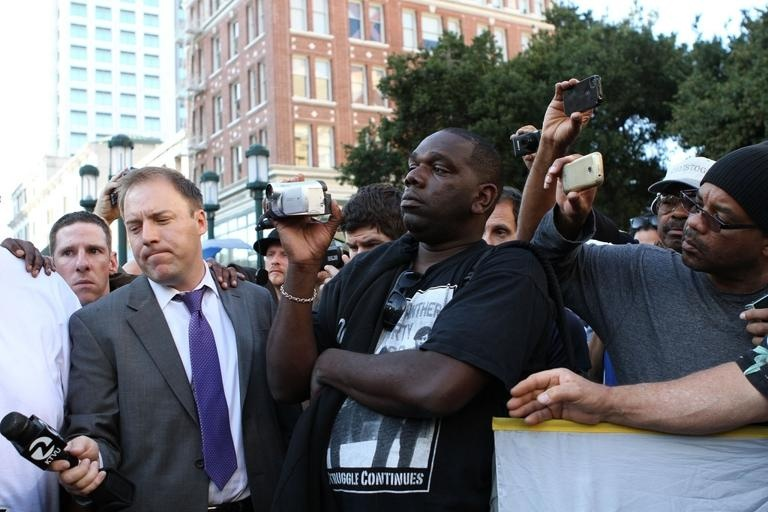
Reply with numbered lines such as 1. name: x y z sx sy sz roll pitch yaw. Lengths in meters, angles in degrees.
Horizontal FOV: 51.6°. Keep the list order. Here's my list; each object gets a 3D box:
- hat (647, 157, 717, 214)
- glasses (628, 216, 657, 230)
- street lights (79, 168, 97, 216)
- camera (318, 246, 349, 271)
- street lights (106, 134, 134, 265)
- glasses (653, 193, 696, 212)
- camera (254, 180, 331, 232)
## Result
1. hat: 2.058 -0.559 5.494 0.520 0.338 0.707 0 -13 17
2. glasses: 2.441 -0.324 7.612 0.174 0.049 0.166 28 -18 -24
3. street lights: -5.623 -1.125 15.015 0.403 1.184 0.388 -1 5 -26
4. camera: -0.433 0.017 6.892 0.204 0.188 0.280 -1 -2 8
5. street lights: -4.936 -0.871 14.863 0.616 2.727 0.582 -1 5 -21
6. glasses: 1.898 -0.347 5.156 0.245 0.069 0.230 -6 6 -25
7. camera: -0.468 -0.267 4.258 0.309 0.152 0.228 -6 -1 12
